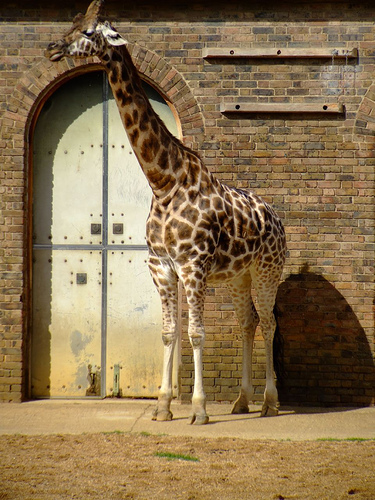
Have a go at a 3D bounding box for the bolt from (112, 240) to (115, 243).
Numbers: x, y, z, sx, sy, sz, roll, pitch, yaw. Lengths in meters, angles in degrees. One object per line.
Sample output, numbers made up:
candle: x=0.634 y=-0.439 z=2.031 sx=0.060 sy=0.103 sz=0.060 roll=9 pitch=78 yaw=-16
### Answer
bolt: x=-0.641 y=-0.080 z=9.724 sx=0.020 sy=0.026 sz=0.021 roll=-1 pitch=-1 yaw=-6

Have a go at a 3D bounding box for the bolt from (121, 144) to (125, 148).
bolt: x=-0.557 y=-0.913 z=9.767 sx=0.020 sy=0.023 sz=0.012 roll=20 pitch=-15 yaw=-6

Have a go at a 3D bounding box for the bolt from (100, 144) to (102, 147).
bolt: x=-0.748 y=-0.919 z=9.767 sx=0.017 sy=0.018 sz=0.004 roll=5 pitch=4 yaw=17

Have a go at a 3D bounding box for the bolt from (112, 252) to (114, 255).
bolt: x=-0.642 y=0.018 z=9.715 sx=0.021 sy=0.022 sz=0.005 roll=2 pitch=4 yaw=3

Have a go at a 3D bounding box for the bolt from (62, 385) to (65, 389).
bolt: x=-1.057 y=1.166 z=9.606 sx=0.023 sy=0.027 sz=0.007 roll=2 pitch=1 yaw=13

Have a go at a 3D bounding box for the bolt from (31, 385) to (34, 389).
bolt: x=-1.324 y=1.164 z=9.604 sx=0.024 sy=0.026 sz=0.006 roll=3 pitch=1 yaw=26

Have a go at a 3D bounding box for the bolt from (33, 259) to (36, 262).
bolt: x=-1.321 y=0.080 z=9.696 sx=0.026 sy=0.034 sz=0.007 roll=2 pitch=-8 yaw=-27

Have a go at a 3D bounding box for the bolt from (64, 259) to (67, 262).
bolt: x=-1.053 y=0.082 z=9.707 sx=0.016 sy=0.019 sz=0.004 roll=11 pitch=2 yaw=7

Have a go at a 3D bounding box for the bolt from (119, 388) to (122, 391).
bolt: x=-0.570 y=1.189 z=9.620 sx=0.018 sy=0.023 sz=0.021 roll=3 pitch=5 yaw=12

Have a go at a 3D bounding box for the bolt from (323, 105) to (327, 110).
bolt: x=1.179 y=-1.221 z=9.534 sx=0.031 sy=0.037 sz=0.012 roll=-4 pitch=0 yaw=-4

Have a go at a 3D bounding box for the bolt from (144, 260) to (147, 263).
bolt: x=-0.360 y=0.088 z=9.712 sx=0.016 sy=0.017 sz=0.004 roll=21 pitch=8 yaw=6

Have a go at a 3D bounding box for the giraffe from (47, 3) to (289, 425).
giraffe: x=0.029 y=-0.234 z=8.458 sx=2.027 sy=3.116 sz=0.644 roll=-5 pitch=7 yaw=-43

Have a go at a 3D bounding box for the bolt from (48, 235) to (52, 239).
bolt: x=-1.189 y=-0.120 z=9.716 sx=0.024 sy=0.028 sz=0.006 roll=18 pitch=4 yaw=1
